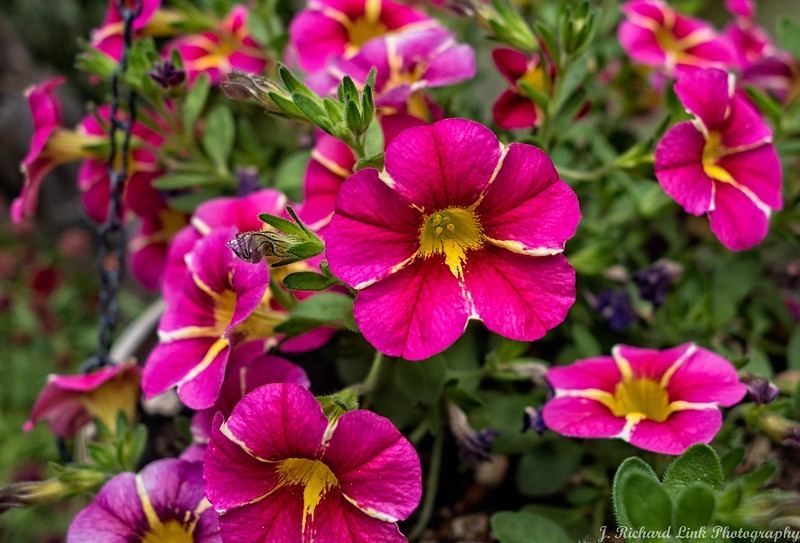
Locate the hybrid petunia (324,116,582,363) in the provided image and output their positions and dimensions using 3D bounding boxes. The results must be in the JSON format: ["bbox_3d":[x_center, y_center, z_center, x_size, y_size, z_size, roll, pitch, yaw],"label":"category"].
[{"bbox_3d":[0.084,-0.058,1.199,0.407,0.160,0.324,-7,64,-6],"label":"hybrid petunia"}]
